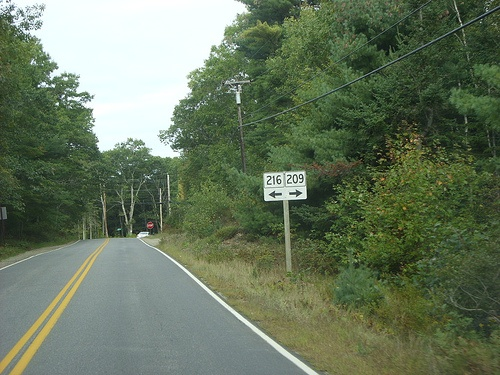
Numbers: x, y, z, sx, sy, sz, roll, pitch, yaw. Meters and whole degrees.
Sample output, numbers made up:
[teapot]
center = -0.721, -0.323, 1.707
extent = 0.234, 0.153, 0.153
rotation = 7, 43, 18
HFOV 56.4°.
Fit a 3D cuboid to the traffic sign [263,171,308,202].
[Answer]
[traffic sign]
center = 1.098, -0.061, 14.992
extent = 1.129, 0.836, 0.076
rotation = -2, 3, 3
